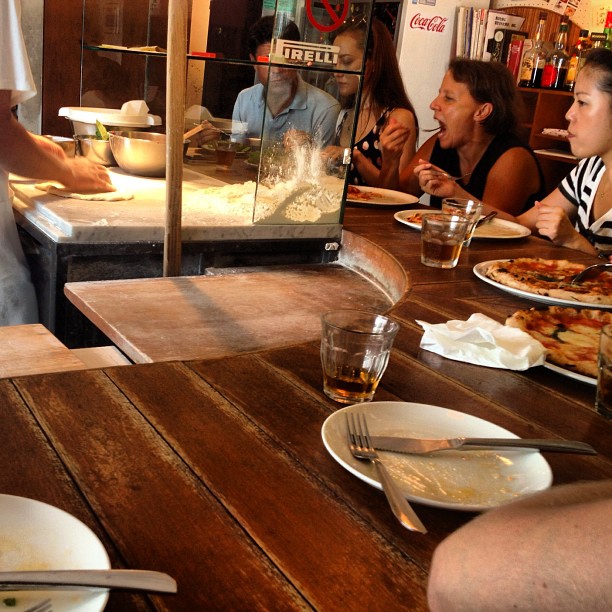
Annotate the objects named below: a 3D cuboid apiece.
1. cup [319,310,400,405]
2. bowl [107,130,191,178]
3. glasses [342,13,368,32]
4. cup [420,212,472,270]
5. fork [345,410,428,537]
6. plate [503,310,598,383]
[{"bbox_3d":[0.066,0.077,0.833,0.162,0.122,0.142,2,12,-1],"label":"cup"},{"bbox_3d":[-0.655,-0.605,2.198,0.292,0.100,0.266,9,8,-1],"label":"bowl"},{"bbox_3d":[0.141,-0.813,1.512,0.069,0.045,0.046,3,43,12],"label":"glasses"},{"bbox_3d":[0.389,-0.192,1.515,0.126,0.149,0.145,9,22,11],"label":"cup"},{"bbox_3d":[0.071,0.170,0.559,0.029,0.024,0.178,16,17,-18],"label":"fork"},{"bbox_3d":[0.491,0.087,1.033,0.160,0.023,0.172,-13,22,-39],"label":"plate"}]
